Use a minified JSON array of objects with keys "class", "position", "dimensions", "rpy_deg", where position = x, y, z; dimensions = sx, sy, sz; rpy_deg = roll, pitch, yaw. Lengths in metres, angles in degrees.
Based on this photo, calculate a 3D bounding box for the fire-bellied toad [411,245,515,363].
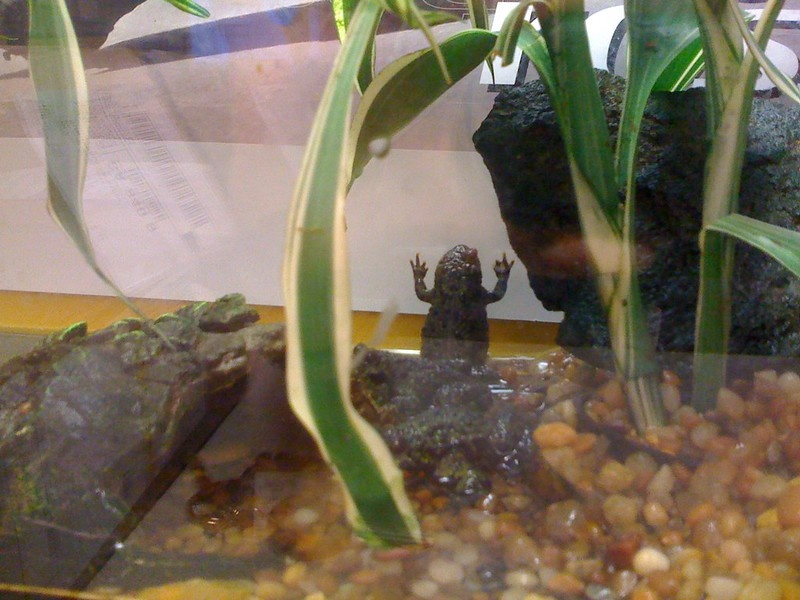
[{"class":"fire-bellied toad","position":[0.083,-0.010,0.930],"dimensions":[0.119,0.175,0.048],"rpy_deg":[3,7,0]}]
